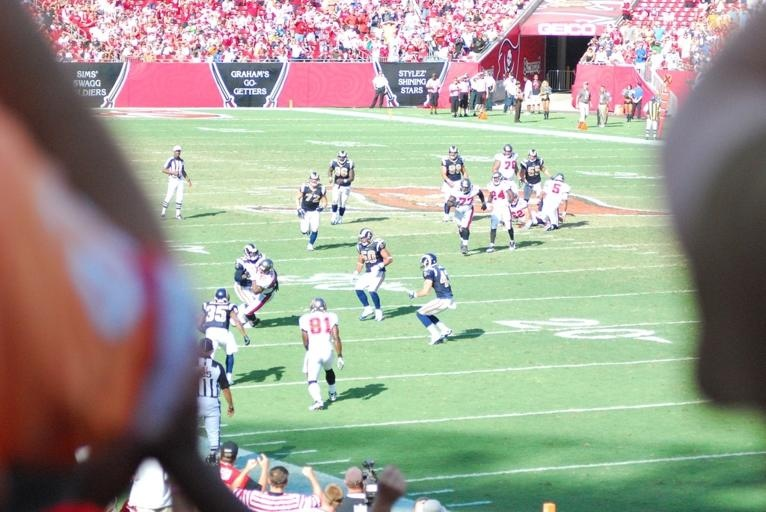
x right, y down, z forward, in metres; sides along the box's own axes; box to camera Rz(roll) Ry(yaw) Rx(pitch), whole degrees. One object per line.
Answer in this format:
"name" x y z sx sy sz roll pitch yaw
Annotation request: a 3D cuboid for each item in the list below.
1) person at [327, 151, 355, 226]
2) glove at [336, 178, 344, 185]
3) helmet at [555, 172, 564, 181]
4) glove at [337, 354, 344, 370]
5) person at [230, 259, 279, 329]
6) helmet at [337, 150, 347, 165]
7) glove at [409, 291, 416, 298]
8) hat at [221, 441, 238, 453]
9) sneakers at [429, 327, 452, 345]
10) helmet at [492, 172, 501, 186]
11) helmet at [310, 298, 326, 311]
"person" -0.929 -1.473 28.331 0.497 1.642 1.363 -1 11 -3
"glove" -0.947 -1.593 27.814 0.106 0.127 0.130 16 16 22
"helmet" 3.788 -1.697 27.459 0.210 0.189 0.239 -3 -4 10
"glove" -0.554 1.336 16.324 0.148 0.175 0.060 -4 -3 7
"person" -1.945 0.551 19.051 0.521 1.065 0.661 33 16 35
"helmet" -0.900 -2.138 28.105 0.323 0.326 0.388 1 -2 -5
"glove" 0.425 0.575 18.973 0.133 0.038 0.090 -16 50 -27
"hat" -1.338 1.627 11.080 0.139 0.092 0.291 -2 10 -10
"sneakers" 0.805 1.115 17.955 0.183 0.389 0.126 32 43 -31
"helmet" 2.282 -1.534 25.685 0.166 0.224 0.387 1 10 4
"helmet" -0.782 0.582 15.411 0.147 0.138 0.173 2 16 -3
